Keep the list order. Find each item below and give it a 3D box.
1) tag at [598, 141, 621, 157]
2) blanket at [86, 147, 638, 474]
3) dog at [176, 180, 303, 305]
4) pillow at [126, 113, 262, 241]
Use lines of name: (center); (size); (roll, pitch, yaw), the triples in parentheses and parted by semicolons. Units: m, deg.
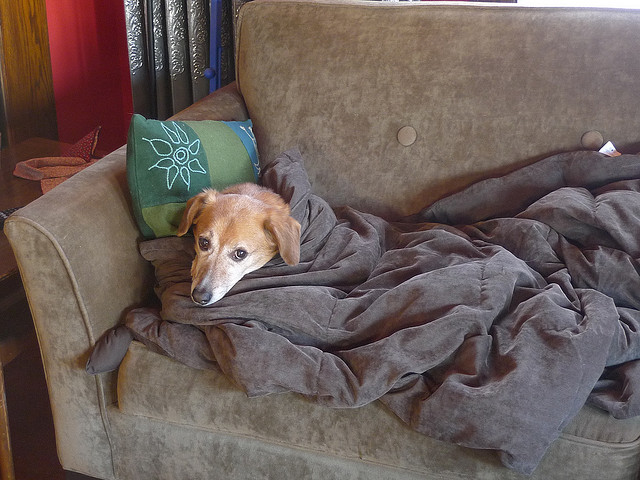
tag: (1.000, -0.309, 2.144); (0.061, 0.058, 0.017); (42, -2, 8)
blanket: (0.234, 0.343, 1.892); (1.217, 0.239, 1.032); (-3, 31, 33)
dog: (-0.265, -0.012, 1.865); (0.285, 0.144, 0.389); (22, 51, 6)
pillow: (-0.414, -0.252, 2.153); (0.197, 0.462, 0.592); (19, 23, 23)
